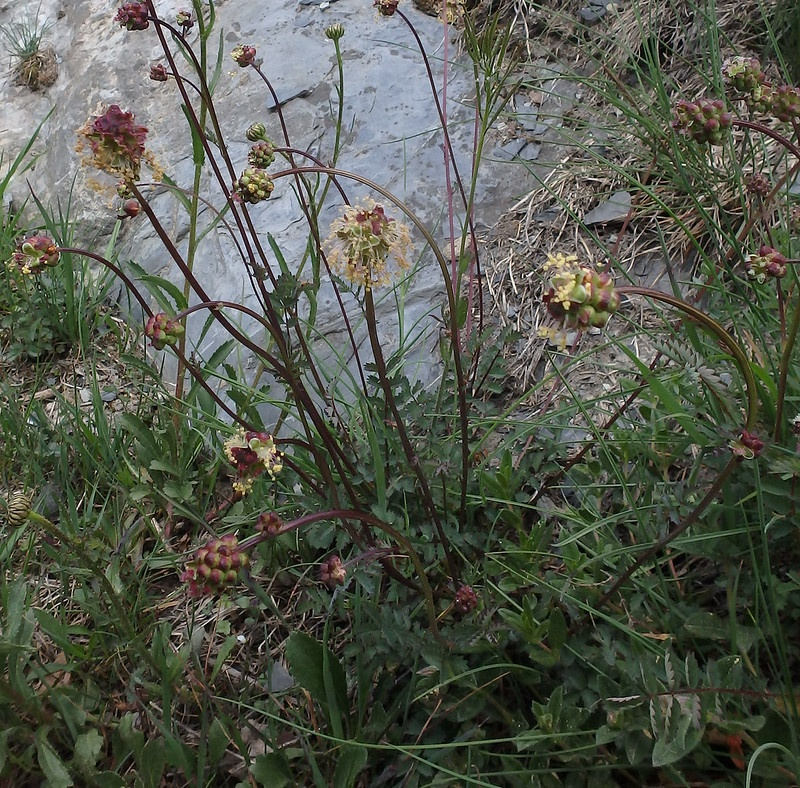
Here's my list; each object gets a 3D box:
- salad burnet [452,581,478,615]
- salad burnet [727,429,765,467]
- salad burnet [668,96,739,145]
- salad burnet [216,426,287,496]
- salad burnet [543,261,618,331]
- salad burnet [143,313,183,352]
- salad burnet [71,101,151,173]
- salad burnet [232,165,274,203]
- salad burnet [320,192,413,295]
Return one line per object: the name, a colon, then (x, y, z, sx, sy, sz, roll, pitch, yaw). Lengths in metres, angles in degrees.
salad burnet: (0.163, 0.553, 2.141, 0.072, 0.084, 0.076, 5, 7, -9)
salad burnet: (0.722, 0.126, 1.694, 0.066, 0.061, 0.088, 10, 15, -7)
salad burnet: (0.745, -0.682, 1.973, 0.171, 0.093, 0.136, 16, 84, 30)
salad burnet: (-0.349, 0.144, 1.872, 0.085, 0.140, 0.199, 169, 113, -69)
salad burnet: (0.339, -0.183, 1.476, 0.126, 0.112, 0.095, -2, 38, 35)
salad burnet: (-0.545, -0.137, 1.819, 0.063, 0.089, 0.051, -11, 73, -8)
salad burnet: (-0.726, -0.659, 2.043, 0.134, 0.149, 0.162, -12, 9, -5)
salad burnet: (-0.369, -0.515, 2.006, 0.094, 0.076, 0.091, 19, 77, 44)
salad burnet: (-0.090, -0.375, 1.938, 0.180, 0.185, 0.208, -37, 32, -18)
